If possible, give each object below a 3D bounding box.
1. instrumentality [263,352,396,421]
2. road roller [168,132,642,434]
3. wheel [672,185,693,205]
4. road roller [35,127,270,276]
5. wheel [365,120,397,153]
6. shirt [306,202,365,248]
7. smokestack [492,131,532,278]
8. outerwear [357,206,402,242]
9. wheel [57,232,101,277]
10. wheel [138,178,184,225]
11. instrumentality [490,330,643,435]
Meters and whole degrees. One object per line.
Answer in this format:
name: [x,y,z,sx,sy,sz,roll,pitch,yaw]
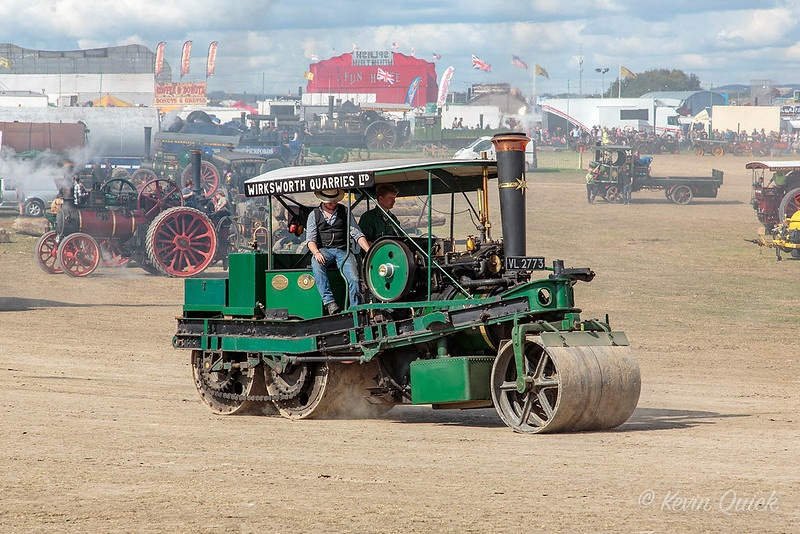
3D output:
instrumentality: [-1.486,2.490,30.892,1.705,1.460,1.380,0,7,-21]
road roller: [-0.020,0.380,31.171,9.563,5.688,3.373,0,-1,35]
wheel: [11.238,-2.912,61.242,0.748,0.752,0.286,-2,5,4]
road roller: [-7.917,-1.918,47.415,3.850,4.460,7.891,1,3,42]
wheel: [-1.318,-7.204,84.401,1.656,1.672,1.661,6,0,0]
shirt: [-1.344,-0.803,30.703,1.212,1.004,0.717,-4,-2,-10]
smokestack: [2.098,-1.405,29.558,0.661,2.284,0.725,0,11,3]
outerwear: [-0.365,-0.834,30.889,1.146,0.949,0.595,-3,3,-28]
wheel: [-9.739,-0.367,46.334,1.290,1.292,1.286,27,-4,2]
wheel: [-7.293,-1.935,46.651,1.829,1.829,0.579,2,4,-38]
instrumentality: [3.051,2.219,29.930,2.702,1.922,1.799,2,-4,-26]
